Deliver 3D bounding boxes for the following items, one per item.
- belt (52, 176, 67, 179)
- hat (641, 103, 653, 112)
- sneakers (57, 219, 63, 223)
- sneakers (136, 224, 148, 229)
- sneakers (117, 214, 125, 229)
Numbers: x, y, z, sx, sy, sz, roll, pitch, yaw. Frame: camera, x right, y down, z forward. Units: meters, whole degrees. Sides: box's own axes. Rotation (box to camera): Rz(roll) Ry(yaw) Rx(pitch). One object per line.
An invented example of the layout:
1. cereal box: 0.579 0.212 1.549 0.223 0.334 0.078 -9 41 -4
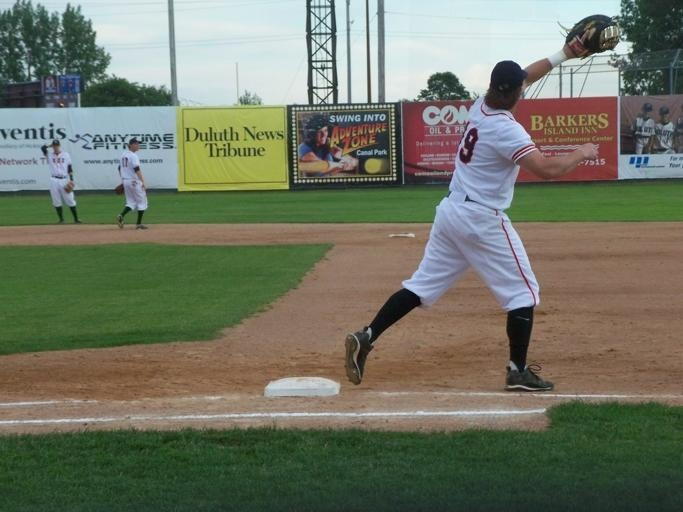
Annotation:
1. belt: -6.596 -1.819 34.241 0.337 0.086 0.142 -2 12 -9
2. hat: 9.213 -4.387 43.702 0.328 0.283 0.079 -4 13 -14
3. sneakers: -6.570 -0.793 34.246 0.150 0.083 0.215 -2 11 -6
4. sneakers: -4.508 -0.655 33.074 0.246 0.077 0.098 2 -28 -27
5. sneakers: -4.935 -0.748 32.882 0.199 0.190 0.444 4 -24 -17
